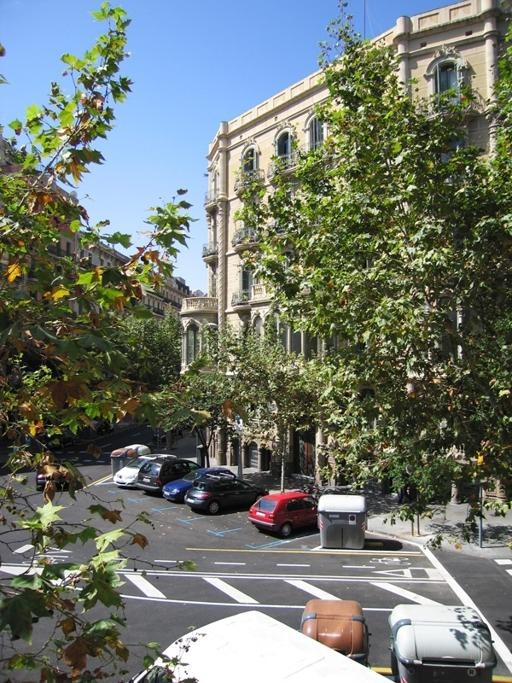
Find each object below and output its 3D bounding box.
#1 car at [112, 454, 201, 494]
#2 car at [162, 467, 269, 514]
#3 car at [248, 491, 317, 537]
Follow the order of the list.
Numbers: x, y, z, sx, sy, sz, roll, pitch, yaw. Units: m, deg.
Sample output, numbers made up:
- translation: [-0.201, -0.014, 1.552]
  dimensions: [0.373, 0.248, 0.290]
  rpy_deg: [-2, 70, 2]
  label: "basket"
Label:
- translation: [-3.522, 5.183, 27.119]
  dimensions: [1.529, 0.845, 2.844]
  rpy_deg: [5, 8, 35]
  label: "car"
- translation: [-1.162, 5.087, 23.774]
  dimensions: [2.733, 0.998, 1.574]
  rpy_deg: [-3, 4, -35]
  label: "car"
- translation: [0.808, 5.009, 20.317]
  dimensions: [1.904, 0.720, 1.070]
  rpy_deg: [-3, 1, -42]
  label: "car"
